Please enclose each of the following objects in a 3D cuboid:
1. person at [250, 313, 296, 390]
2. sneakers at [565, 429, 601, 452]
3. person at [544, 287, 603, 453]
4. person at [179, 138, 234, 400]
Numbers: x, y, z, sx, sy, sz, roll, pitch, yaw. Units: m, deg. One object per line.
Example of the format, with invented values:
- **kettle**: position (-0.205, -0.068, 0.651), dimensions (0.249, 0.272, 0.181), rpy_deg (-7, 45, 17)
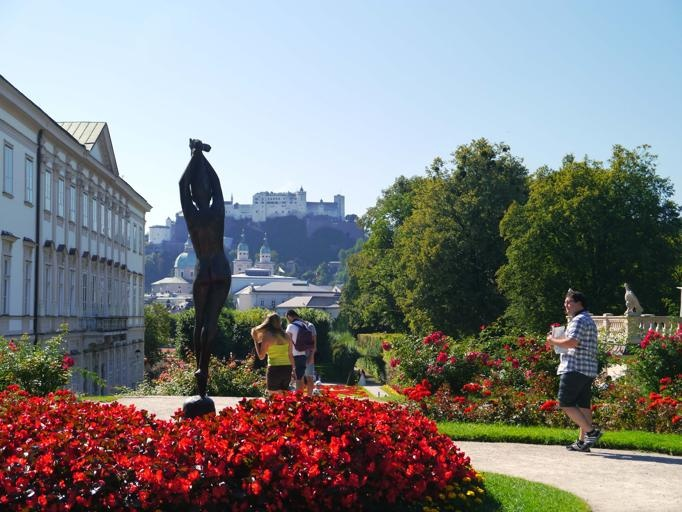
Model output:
- **person**: position (-1.094, 1.566, 12.622), dimensions (0.690, 1.294, 0.784), rpy_deg (4, -7, -8)
- **sneakers**: position (3.590, 2.689, 11.391), dimensions (0.613, 0.300, 0.216), rpy_deg (-13, 3, 33)
- **person**: position (3.413, 1.656, 11.347), dimensions (0.795, 2.340, 0.485), rpy_deg (5, -7, -17)
- **person**: position (-1.983, 0.155, 11.229), dimensions (0.802, 3.684, 0.737), rpy_deg (4, -7, -12)
